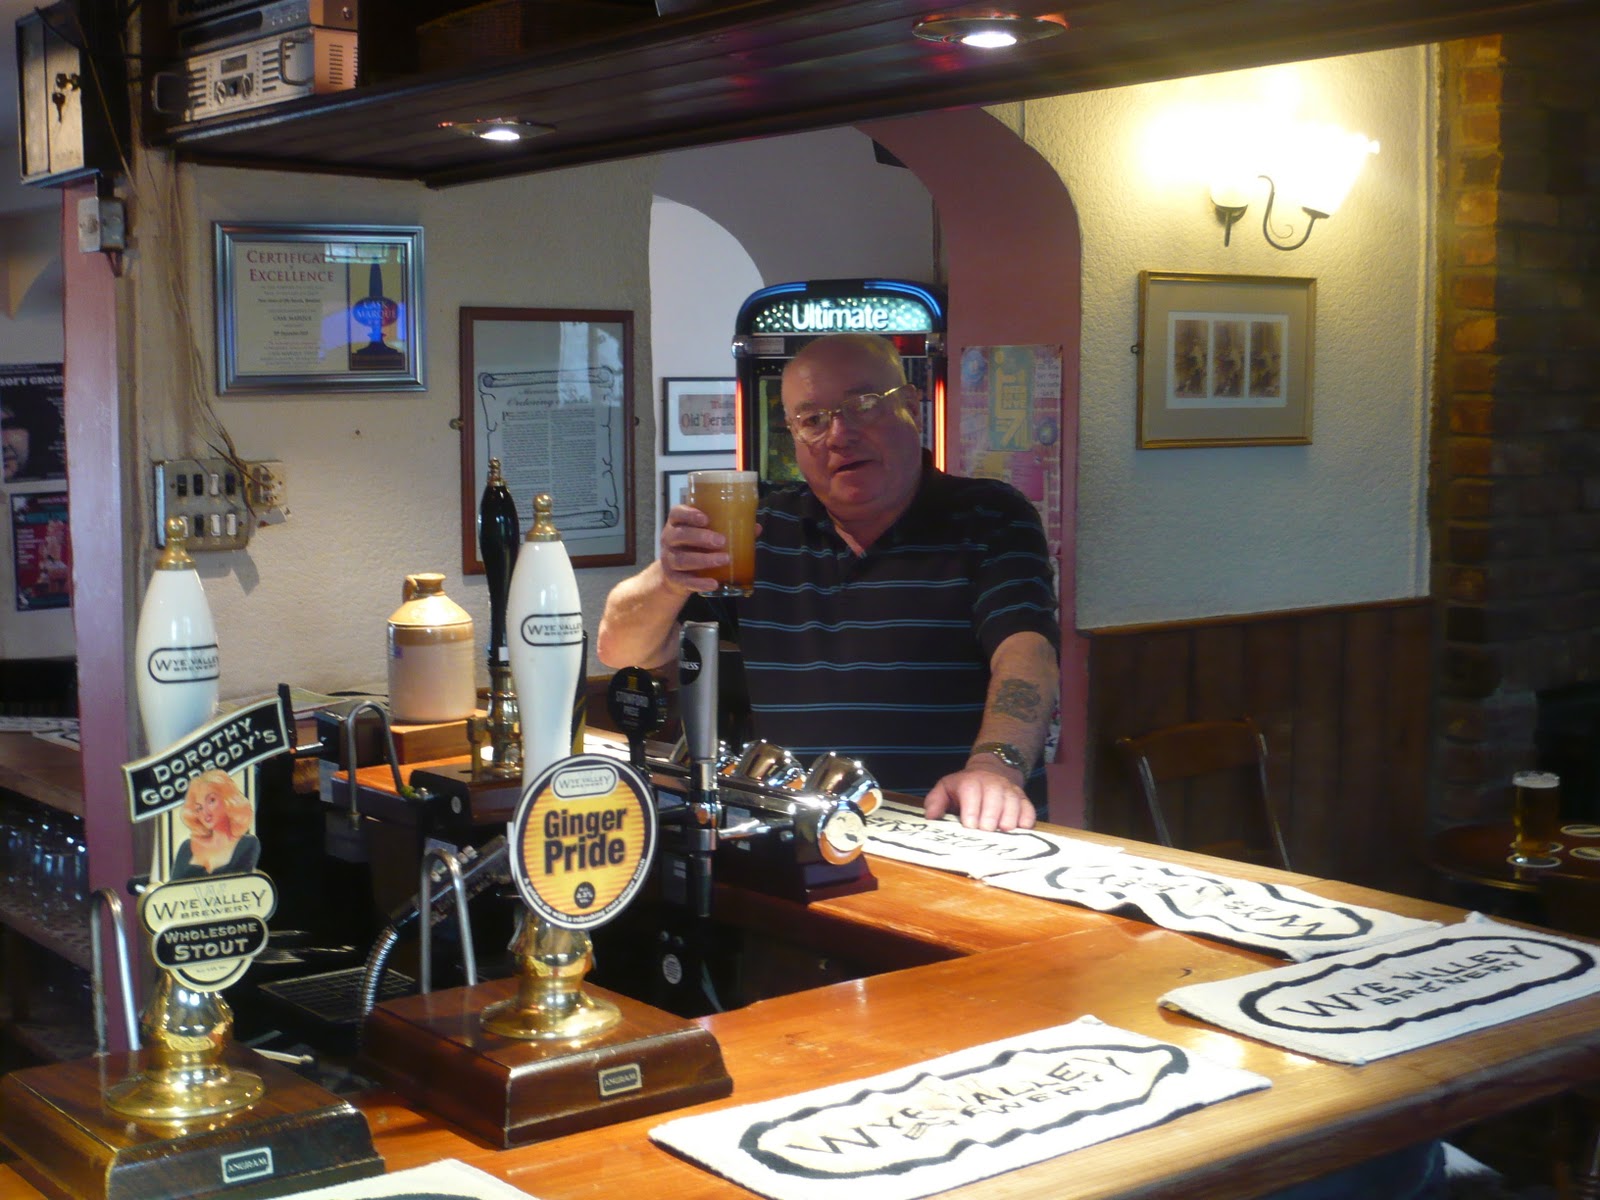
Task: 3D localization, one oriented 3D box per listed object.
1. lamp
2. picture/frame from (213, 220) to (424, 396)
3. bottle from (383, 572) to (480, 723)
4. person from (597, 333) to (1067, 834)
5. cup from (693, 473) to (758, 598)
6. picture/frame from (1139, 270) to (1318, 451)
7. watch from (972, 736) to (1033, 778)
[{"bbox_3d":[1.430,-1.341,4.149,0.844,0.510,0.127,-4,9,-25],"label":"lamp"},{"bbox_3d":[-1.243,-0.742,3.397,0.513,0.379,0.035,-5,8,-36],"label":"picture/frame"},{"bbox_3d":[-0.744,0.121,2.704,0.166,0.241,0.130,-3,9,-18],"label":"bottle"},{"bbox_3d":[0.240,-0.061,2.785,0.626,0.982,0.956,-3,9,-18],"label":"person"},{"bbox_3d":[-0.119,-0.105,2.119,0.102,0.187,0.098,0,8,0],"label":"cup"},{"bbox_3d":[1.333,-0.744,4.198,0.727,0.521,0.057,-5,10,-29],"label":"picture/frame"},{"bbox_3d":[0.360,0.290,2.478,0.097,0.062,0.106,-14,-37,44],"label":"watch"}]
